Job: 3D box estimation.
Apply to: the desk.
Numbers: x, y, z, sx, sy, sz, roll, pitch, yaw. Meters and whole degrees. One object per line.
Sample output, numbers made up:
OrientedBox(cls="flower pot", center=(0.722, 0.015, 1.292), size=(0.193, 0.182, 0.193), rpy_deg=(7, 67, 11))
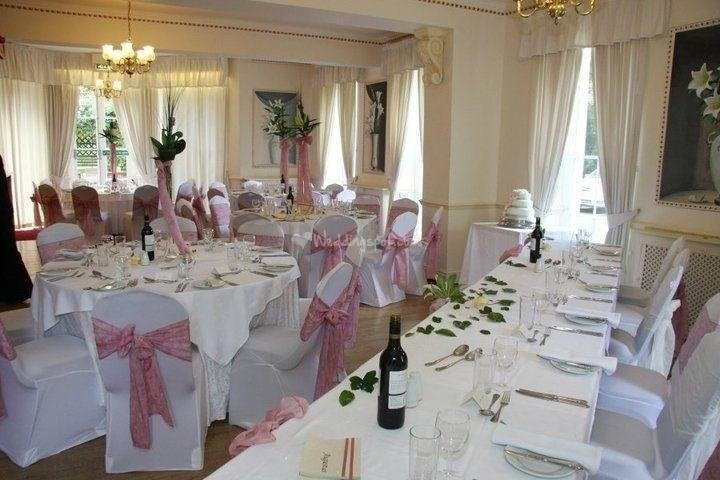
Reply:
OrientedBox(cls="desk", center=(1.759, 0.117, 6.864), size=(0.958, 1.009, 0.969), rpy_deg=(-8, 15, -33))

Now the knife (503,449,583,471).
OrientedBox(cls="knife", center=(0.876, 1.044, 2.367), size=(0.286, 0.036, 0.043), rpy_deg=(10, 2, 4))

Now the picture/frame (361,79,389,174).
OrientedBox(cls="picture/frame", center=(0.308, -2.229, 9.867), size=(0.152, 1.698, 0.743), rpy_deg=(-6, 14, -26))

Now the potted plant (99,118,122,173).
OrientedBox(cls="potted plant", center=(-5.458, -2.005, 11.047), size=(0.430, 1.266, 1.693), rpy_deg=(-6, 15, -26))

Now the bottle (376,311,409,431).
OrientedBox(cls="bottle", center=(0.160, 0.656, 2.492), size=(0.138, 0.570, 0.117), rpy_deg=(1, 13, 3))
